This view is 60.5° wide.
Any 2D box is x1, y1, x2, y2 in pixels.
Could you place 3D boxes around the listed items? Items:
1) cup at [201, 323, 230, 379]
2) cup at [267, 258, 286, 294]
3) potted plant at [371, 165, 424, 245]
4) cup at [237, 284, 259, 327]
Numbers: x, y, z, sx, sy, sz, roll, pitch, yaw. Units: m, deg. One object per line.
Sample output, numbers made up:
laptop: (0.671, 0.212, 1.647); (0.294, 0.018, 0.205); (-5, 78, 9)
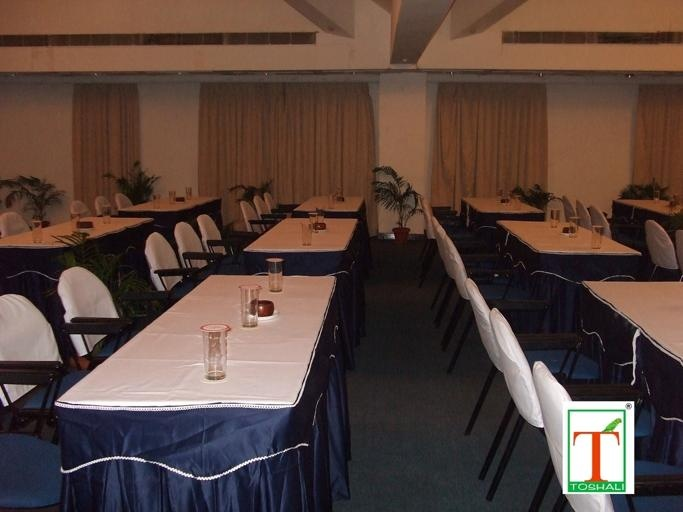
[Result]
cup: (-0.483, 0.373, 2.253); (0.098, 0.199, 0.071); (-3, 13, -22)
cup: (-0.379, 0.101, 3.310); (0.138, 0.216, 0.149); (0, 10, 0)
potted plant: (0.854, -0.786, 9.266); (0.908, 1.599, 1.113); (1, 12, 6)
cup: (-0.434, 0.227, 2.739); (0.087, 0.208, 0.109); (-1, 13, -13)
